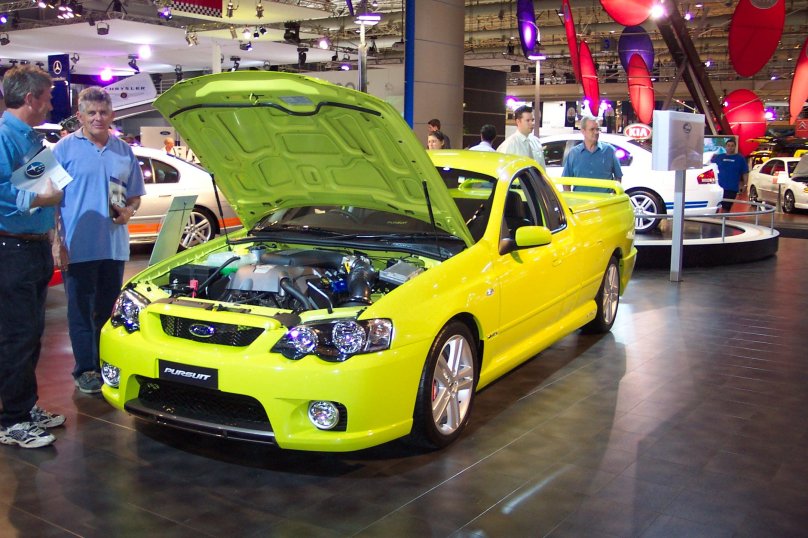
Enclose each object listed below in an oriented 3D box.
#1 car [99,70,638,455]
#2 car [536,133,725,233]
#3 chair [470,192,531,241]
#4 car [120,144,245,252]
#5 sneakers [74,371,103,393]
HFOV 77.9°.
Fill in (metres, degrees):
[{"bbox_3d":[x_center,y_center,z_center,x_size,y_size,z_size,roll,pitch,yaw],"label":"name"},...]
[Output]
[{"bbox_3d":[0.086,-0.506,5.462,3.168,2.256,5.684,5,12,33],"label":"car"},{"bbox_3d":[5.533,-2.046,11.407,4.823,1.480,1.992,5,12,13],"label":"car"},{"bbox_3d":[0.831,-0.472,4.388,0.369,0.264,0.600,6,14,26],"label":"chair"},{"bbox_3d":[-3.356,-1.296,10.227,3.986,1.691,1.987,2,3,-21],"label":"car"},{"bbox_3d":[-2.881,1.007,4.553,0.379,0.146,0.164,5,9,34],"label":"sneakers"}]
